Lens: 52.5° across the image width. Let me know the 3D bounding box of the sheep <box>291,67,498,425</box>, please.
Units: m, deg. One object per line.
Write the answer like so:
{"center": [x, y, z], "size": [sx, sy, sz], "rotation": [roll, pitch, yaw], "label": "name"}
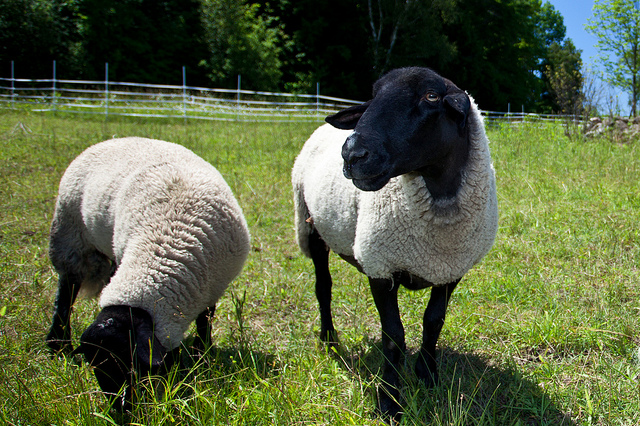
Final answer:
{"center": [1.170, 0.283, 10.071], "size": [3.000, 4.968, 1.392], "rotation": [7, 12, 16], "label": "sheep"}
